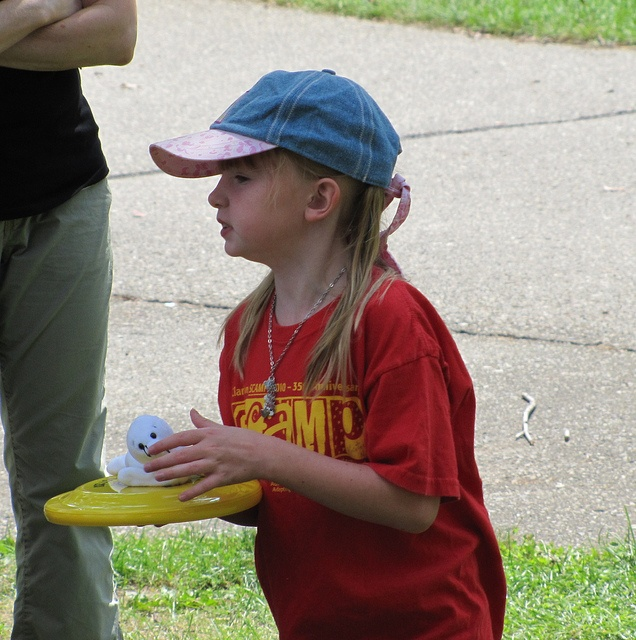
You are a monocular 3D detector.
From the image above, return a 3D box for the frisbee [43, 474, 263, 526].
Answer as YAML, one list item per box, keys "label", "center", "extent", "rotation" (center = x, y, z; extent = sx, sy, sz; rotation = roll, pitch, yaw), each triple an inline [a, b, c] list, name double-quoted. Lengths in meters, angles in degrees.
- label: "frisbee"
  center: [-0.436, 0.447, 3.235]
  extent: [0.492, 0.055, 0.447]
  rotation: [-2, -1, -20]

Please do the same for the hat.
- label: "hat"
  center: [-0.095, -0.484, 3.338]
  extent: [0.693, 0.314, 0.398]
  rotation: [10, 3, 0]
